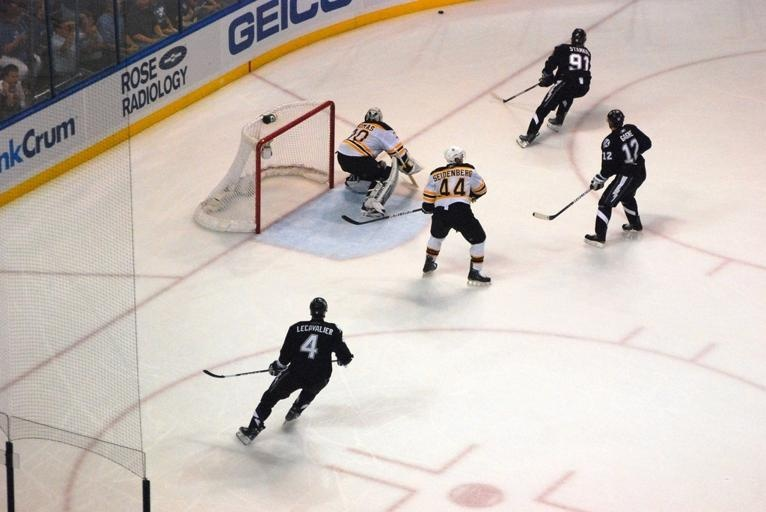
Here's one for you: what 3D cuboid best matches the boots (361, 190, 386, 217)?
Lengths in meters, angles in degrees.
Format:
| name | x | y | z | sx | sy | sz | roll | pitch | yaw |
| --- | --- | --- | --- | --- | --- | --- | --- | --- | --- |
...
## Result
| name | x | y | z | sx | sy | sz | roll | pitch | yaw |
| --- | --- | --- | --- | --- | --- | --- | --- | --- | --- |
| boots | -0.110 | -0.651 | 11.116 | 0.310 | 0.292 | 0.230 | -5 | 24 | 0 |

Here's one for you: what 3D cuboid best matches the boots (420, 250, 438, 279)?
| name | x | y | z | sx | sy | sz | roll | pitch | yaw |
| --- | --- | --- | --- | --- | --- | --- | --- | --- | --- |
| boots | 0.558 | 0.089 | 10.202 | 0.140 | 0.237 | 0.338 | 5 | 31 | 9 |

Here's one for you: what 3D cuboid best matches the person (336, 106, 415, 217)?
| name | x | y | z | sx | sy | sz | roll | pitch | yaw |
| --- | --- | --- | --- | --- | --- | --- | --- | --- | --- |
| person | -0.091 | -1.270 | 11.451 | 1.244 | 1.224 | 1.469 | 1 | 19 | -13 |

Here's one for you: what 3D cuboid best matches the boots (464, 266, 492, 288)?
| name | x | y | z | sx | sy | sz | roll | pitch | yaw |
| --- | --- | --- | --- | --- | --- | --- | --- | --- | --- |
| boots | 1.103 | 0.250 | 10.040 | 0.284 | 0.168 | 0.164 | -1 | 20 | 1 |

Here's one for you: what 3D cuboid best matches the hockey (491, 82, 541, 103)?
| name | x | y | z | sx | sy | sz | roll | pitch | yaw |
| --- | --- | --- | --- | --- | --- | --- | --- | --- | --- |
| hockey | 2.020 | -2.508 | 13.227 | 0.795 | 0.302 | 0.019 | -18 | 28 | 50 |

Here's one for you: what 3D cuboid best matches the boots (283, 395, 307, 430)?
| name | x | y | z | sx | sy | sz | roll | pitch | yaw |
| --- | --- | --- | --- | --- | --- | --- | --- | --- | --- |
| boots | -0.828 | 1.517 | 8.509 | 0.104 | 0.307 | 0.267 | 45 | 27 | 13 |

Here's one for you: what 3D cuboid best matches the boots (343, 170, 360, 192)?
| name | x | y | z | sx | sy | sz | roll | pitch | yaw |
| --- | --- | --- | --- | --- | --- | --- | --- | --- | --- |
| boots | -0.379 | -0.993 | 11.674 | 0.209 | 0.236 | 0.232 | -4 | 5 | -2 |

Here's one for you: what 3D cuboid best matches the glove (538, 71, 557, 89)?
| name | x | y | z | sx | sy | sz | roll | pitch | yaw |
| --- | --- | --- | --- | --- | --- | --- | --- | --- | --- |
| glove | 2.311 | -2.475 | 12.431 | 0.191 | 0.197 | 0.187 | -17 | 11 | -28 |

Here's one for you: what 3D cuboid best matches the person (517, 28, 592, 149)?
| name | x | y | z | sx | sy | sz | roll | pitch | yaw |
| --- | --- | --- | --- | --- | --- | --- | --- | --- | --- |
| person | 2.420 | -2.345 | 12.331 | 1.277 | 1.467 | 0.638 | -21 | 29 | -31 |

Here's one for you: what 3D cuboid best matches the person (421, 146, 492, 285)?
| name | x | y | z | sx | sy | sz | roll | pitch | yaw |
| --- | --- | --- | --- | --- | --- | --- | --- | --- | --- |
| person | 0.843 | -0.459 | 10.072 | 0.787 | 1.501 | 0.618 | 1 | 26 | 14 |

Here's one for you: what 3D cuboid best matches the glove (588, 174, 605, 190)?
| name | x | y | z | sx | sy | sz | roll | pitch | yaw |
| --- | --- | --- | --- | --- | --- | --- | --- | --- | --- |
| glove | 2.610 | -0.908 | 10.606 | 0.150 | 0.176 | 0.212 | 38 | 33 | 23 |

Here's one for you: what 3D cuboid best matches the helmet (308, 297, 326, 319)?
| name | x | y | z | sx | sy | sz | roll | pitch | yaw |
| --- | --- | --- | --- | --- | --- | --- | --- | --- | --- |
| helmet | -0.592 | 0.479 | 8.284 | 0.172 | 0.186 | 0.190 | 13 | 29 | -3 |

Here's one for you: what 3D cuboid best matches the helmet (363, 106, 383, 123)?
| name | x | y | z | sx | sy | sz | roll | pitch | yaw |
| --- | --- | --- | --- | --- | --- | --- | --- | --- | --- |
| helmet | -0.086 | -1.782 | 11.229 | 0.240 | 0.254 | 0.276 | 4 | 12 | 10 |

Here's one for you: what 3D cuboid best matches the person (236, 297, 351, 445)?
| name | x | y | z | sx | sy | sz | roll | pitch | yaw |
| --- | --- | --- | --- | --- | --- | --- | --- | --- | --- |
| person | -0.830 | 1.073 | 8.294 | 1.079 | 1.282 | 0.349 | -10 | 26 | -9 |

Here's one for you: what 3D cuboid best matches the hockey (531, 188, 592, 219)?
| name | x | y | z | sx | sy | sz | roll | pitch | yaw |
| --- | --- | --- | --- | --- | --- | --- | --- | --- | --- |
| hockey | 2.193 | -0.645 | 11.013 | 0.630 | 0.371 | 0.751 | -1 | 23 | 9 |

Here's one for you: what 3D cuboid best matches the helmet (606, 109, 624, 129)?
| name | x | y | z | sx | sy | sz | roll | pitch | yaw |
| --- | --- | --- | --- | --- | --- | --- | --- | --- | --- |
| helmet | 2.791 | -1.647 | 10.584 | 0.275 | 0.264 | 0.291 | 1 | 15 | 12 |

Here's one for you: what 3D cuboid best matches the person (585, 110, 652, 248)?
| name | x | y | z | sx | sy | sz | roll | pitch | yaw |
| --- | --- | --- | --- | --- | --- | --- | --- | --- | --- |
| person | 2.808 | -0.932 | 10.545 | 0.562 | 1.513 | 0.848 | 11 | 30 | 31 |

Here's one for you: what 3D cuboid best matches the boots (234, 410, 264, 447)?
| name | x | y | z | sx | sy | sz | roll | pitch | yaw |
| --- | --- | --- | --- | --- | --- | --- | --- | --- | --- |
| boots | -1.219 | 1.623 | 8.384 | 0.268 | 0.121 | 0.239 | 7 | 62 | 35 |

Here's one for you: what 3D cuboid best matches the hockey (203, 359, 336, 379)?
| name | x | y | z | sx | sy | sz | roll | pitch | yaw |
| --- | --- | --- | --- | --- | --- | --- | --- | --- | --- |
| hockey | -1.071 | 1.102 | 8.594 | 1.234 | 0.124 | 0.130 | -7 | 20 | -2 |

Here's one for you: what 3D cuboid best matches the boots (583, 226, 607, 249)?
| name | x | y | z | sx | sy | sz | roll | pitch | yaw |
| --- | --- | --- | --- | --- | --- | --- | --- | --- | --- |
| boots | 2.557 | -0.210 | 10.612 | 0.339 | 0.216 | 0.135 | 23 | 29 | 38 |
